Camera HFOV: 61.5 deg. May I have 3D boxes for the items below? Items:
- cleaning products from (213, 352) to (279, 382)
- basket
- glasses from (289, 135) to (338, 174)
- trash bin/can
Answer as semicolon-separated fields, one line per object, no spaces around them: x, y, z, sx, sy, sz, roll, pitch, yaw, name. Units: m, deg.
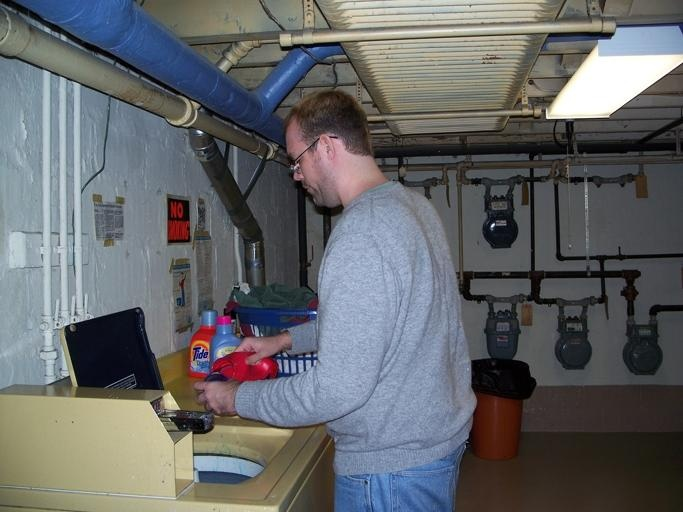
-0.345;0.414;2.100;0.184;0.084;0.117;-9;32;-14;cleaning products
-0.314;0.398;2.692;0.363;0.213;0.293;-5;-10;20;basket
-0.109;-0.311;1.836;0.037;0.124;0.101;37;18;7;glasses
1.177;1.131;4.319;0.474;0.631;0.441;-1;7;-5;trash bin/can
